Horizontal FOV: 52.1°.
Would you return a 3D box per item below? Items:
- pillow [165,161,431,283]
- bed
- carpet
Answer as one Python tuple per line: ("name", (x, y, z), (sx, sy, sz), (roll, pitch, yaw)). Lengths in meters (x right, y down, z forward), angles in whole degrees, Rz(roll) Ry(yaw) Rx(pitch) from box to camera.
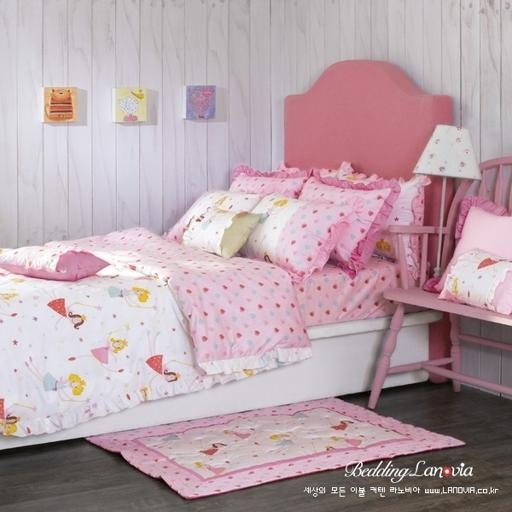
("pillow", (0.265, -0.170, 2.674), (0.906, 0.323, 0.472), (7, 19, 44))
("bed", (-0.145, -0.234, 3.004), (2.446, 1.660, 1.617), (-5, 11, -24))
("carpet", (0.067, 0.673, 1.907), (1.129, 0.021, 0.658), (-1, 3, -30))
